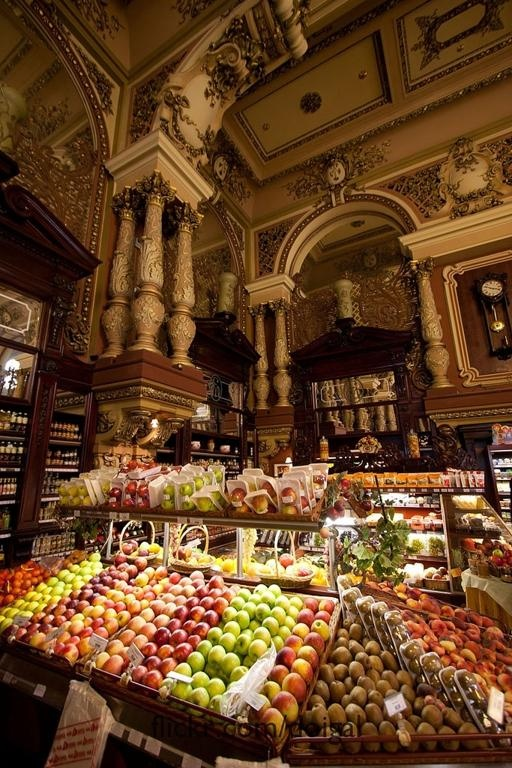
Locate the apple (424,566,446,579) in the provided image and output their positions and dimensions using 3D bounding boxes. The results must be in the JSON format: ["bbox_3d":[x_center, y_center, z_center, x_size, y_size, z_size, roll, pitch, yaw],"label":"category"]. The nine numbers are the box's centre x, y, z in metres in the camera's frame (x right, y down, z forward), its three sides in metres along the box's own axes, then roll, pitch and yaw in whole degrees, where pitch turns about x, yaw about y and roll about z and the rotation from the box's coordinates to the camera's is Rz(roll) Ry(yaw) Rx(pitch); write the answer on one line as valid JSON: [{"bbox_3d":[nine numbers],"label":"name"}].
[{"bbox_3d":[1.199,1.272,2.895,0.102,0.040,0.104,3,-10,-44],"label":"apple"}]

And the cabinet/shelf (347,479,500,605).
[{"bbox_3d":[0.969,0.884,2.392,0.321,0.827,0.907,15,-19,-40],"label":"cabinet/shelf"}]

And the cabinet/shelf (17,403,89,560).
[{"bbox_3d":[-1.375,0.644,2.994,0.297,1.123,0.438,0,-5,29],"label":"cabinet/shelf"}]
